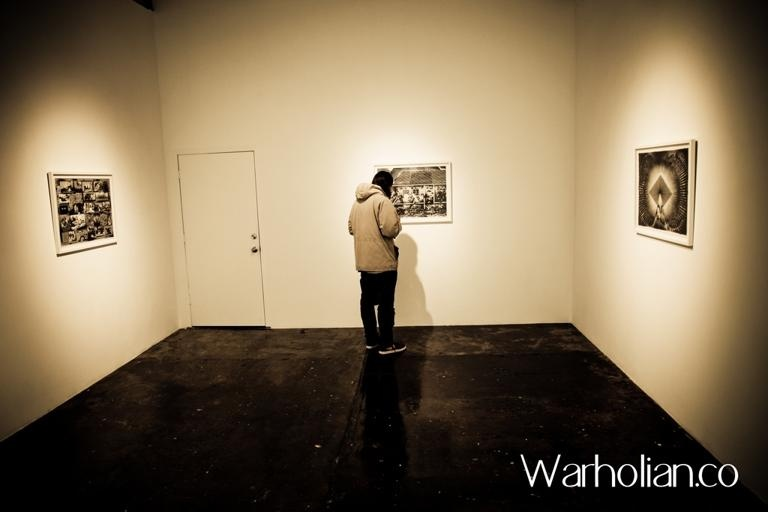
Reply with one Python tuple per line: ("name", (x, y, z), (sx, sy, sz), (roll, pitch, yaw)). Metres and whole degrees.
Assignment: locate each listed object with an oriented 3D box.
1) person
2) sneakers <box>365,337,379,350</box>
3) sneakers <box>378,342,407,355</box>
("person", (-0.065, 0.098, 6.389), (0.595, 2.214, 0.310), (-1, 10, -1))
("sneakers", (-0.156, 1.094, 6.609), (0.152, 0.155, 0.158), (-5, -6, 26))
("sneakers", (0.101, 1.126, 6.566), (0.342, 0.160, 0.132), (-8, 3, -12))
